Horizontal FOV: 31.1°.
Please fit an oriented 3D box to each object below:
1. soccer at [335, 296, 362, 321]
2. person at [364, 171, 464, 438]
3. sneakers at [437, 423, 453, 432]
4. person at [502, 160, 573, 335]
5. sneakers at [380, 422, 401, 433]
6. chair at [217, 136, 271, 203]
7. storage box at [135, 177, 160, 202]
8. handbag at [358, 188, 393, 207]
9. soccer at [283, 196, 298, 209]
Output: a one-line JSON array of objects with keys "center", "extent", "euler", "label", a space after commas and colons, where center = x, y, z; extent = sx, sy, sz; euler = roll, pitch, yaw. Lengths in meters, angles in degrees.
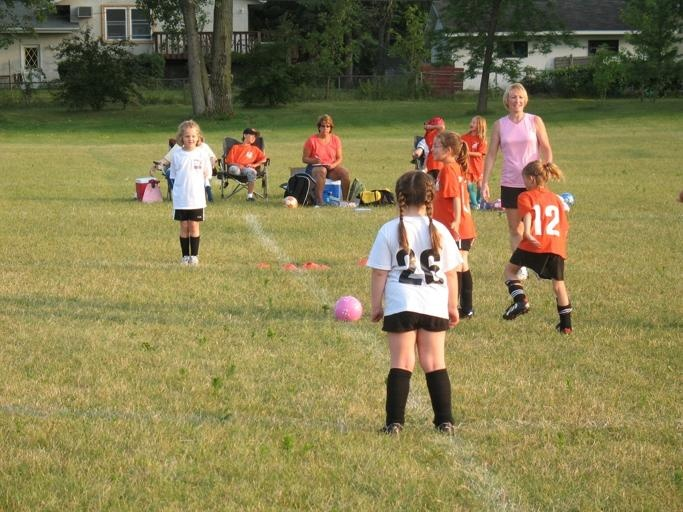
[{"center": [0.114, 0.800, 18.937], "extent": [0.335, 0.370, 0.367], "euler": [7, 44, -9], "label": "soccer"}, {"center": [0.995, 0.619, 16.754], "extent": [1.228, 3.452, 0.835], "euler": [3, 12, 5], "label": "person"}, {"center": [1.413, 2.345, 16.762], "extent": [0.129, 0.151, 0.139], "euler": [-1, 0, 19], "label": "sneakers"}, {"center": [3.071, -0.164, 18.829], "extent": [1.045, 2.471, 0.716], "euler": [4, 12, 10], "label": "person"}, {"center": [0.681, 2.347, 16.748], "extent": [0.145, 0.140, 0.174], "euler": [1, -2, -39], "label": "sneakers"}, {"center": [-2.145, -1.941, 26.720], "extent": [0.996, 1.508, 0.980], "euler": [-1, 0, -11], "label": "chair"}, {"center": [-4.100, -1.481, 26.135], "extent": [0.560, 0.604, 0.449], "euler": [-2, 2, -38], "label": "storage box"}, {"center": [0.737, -1.252, 25.804], "extent": [0.849, 0.439, 0.295], "euler": [4, 6, 3], "label": "handbag"}, {"center": [-1.045, -1.149, 25.451], "extent": [0.262, 0.258, 0.230], "euler": [12, 12, 37], "label": "soccer"}]
